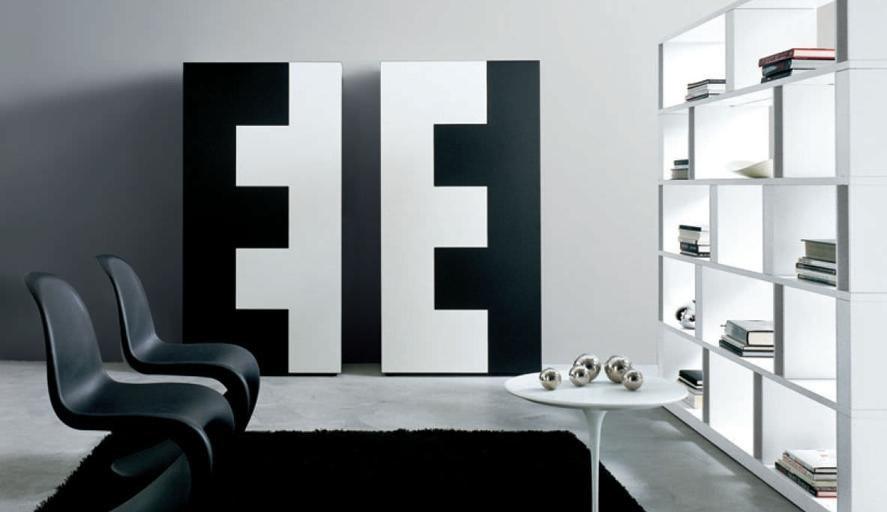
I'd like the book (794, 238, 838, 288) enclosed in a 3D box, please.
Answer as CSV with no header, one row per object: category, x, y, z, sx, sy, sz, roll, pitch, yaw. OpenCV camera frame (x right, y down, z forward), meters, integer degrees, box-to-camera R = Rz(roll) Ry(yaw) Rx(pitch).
book,2.424,0.048,4.637,0.284,0.280,0.306,0,2,-26

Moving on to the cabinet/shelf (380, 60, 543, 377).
cabinet/shelf,0.158,-0.346,6.523,1.428,2.804,0.391,0,8,-3

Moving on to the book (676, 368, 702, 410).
book,1.976,1.047,5.726,0.256,0.205,0.333,0,1,-1

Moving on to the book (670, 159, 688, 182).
book,1.881,-0.684,5.725,0.157,0.141,0.159,-1,-1,39

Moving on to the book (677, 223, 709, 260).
book,1.944,-0.112,5.639,0.215,0.249,0.345,-1,1,-10

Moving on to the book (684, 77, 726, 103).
book,1.992,-1.255,5.449,0.219,0.069,0.212,-3,2,-18

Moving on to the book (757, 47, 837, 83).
book,2.317,-1.219,4.786,0.298,0.096,0.296,-3,2,-15

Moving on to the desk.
desk,1.003,1.042,4.905,1.092,1.010,0.985,-1,1,-4
